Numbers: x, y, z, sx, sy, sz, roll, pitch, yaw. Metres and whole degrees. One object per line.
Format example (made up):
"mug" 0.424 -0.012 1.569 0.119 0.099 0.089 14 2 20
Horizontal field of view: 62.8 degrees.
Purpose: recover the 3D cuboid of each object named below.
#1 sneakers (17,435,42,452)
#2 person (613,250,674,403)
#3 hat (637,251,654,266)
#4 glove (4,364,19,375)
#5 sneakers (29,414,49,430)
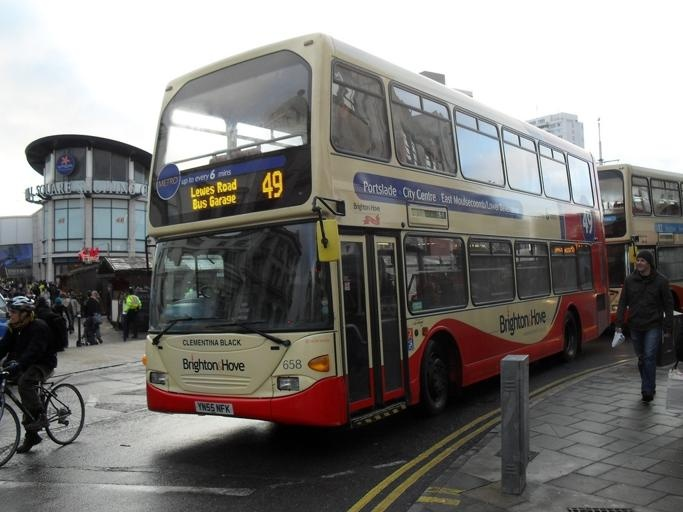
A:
"sneakers" -4.366 2.564 7.783 0.295 0.227 0.293 -4 3 -28
"person" 4.839 1.096 8.874 0.803 2.376 0.670 -2 2 19
"hat" 4.907 0.030 8.961 0.260 0.226 0.203 13 -11 -18
"glove" -4.391 1.481 7.403 0.137 0.141 0.136 -2 -10 3
"sneakers" -4.136 2.248 7.671 0.150 0.178 0.303 -2 3 13
